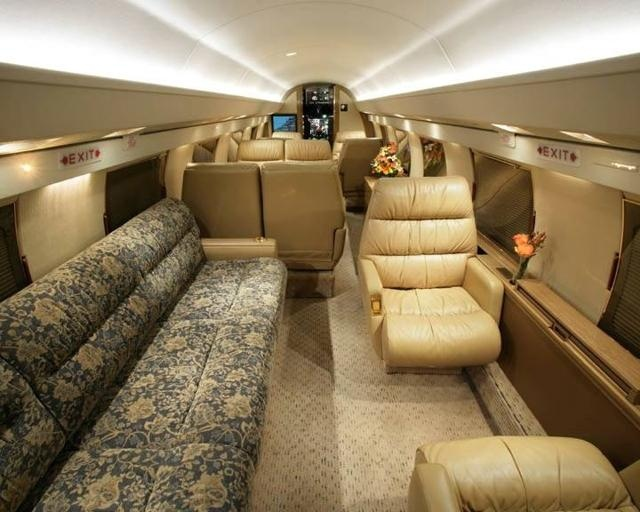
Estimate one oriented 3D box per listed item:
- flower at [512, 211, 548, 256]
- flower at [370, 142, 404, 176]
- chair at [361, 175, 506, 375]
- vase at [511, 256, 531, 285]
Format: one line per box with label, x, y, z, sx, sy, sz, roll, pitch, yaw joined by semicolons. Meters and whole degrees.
flower;1.527;-0.089;2.824;0.193;0.229;0.403;12;23;30
flower;0.977;-1.327;5.733;0.445;0.650;0.320;0;7;6
chair;0.837;0.095;2.994;1.054;1.249;1.041;2;20;4
vase;1.450;0.086;2.830;0.091;0.221;0.225;11;22;27
